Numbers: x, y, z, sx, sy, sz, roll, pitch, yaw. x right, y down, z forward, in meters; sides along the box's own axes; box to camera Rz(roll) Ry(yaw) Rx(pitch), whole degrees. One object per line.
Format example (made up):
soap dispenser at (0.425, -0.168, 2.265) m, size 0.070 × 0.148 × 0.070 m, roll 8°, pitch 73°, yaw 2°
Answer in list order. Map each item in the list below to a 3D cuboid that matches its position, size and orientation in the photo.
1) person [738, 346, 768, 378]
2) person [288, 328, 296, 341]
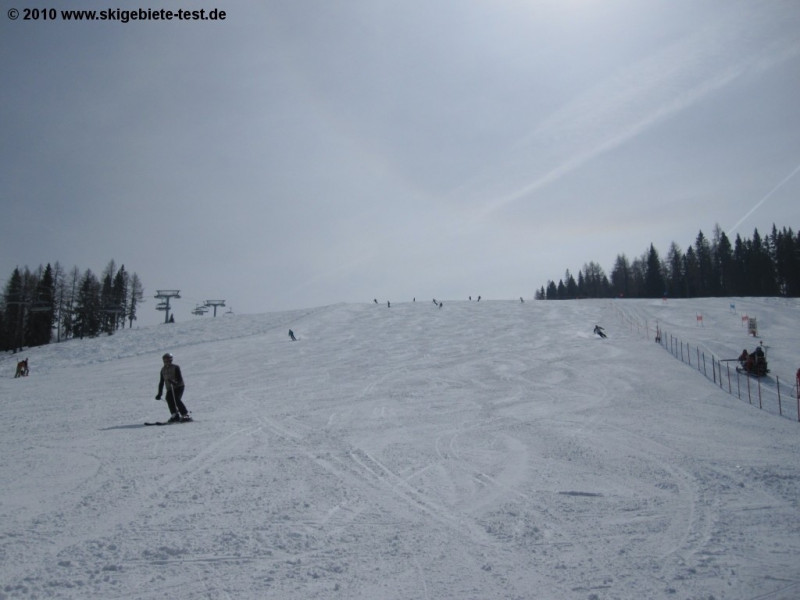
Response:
person at (15.003, 2.600, 27.984) m, size 0.934 × 1.105 × 1.415 m, roll 1°, pitch 4°, yaw 7°
person at (-6.662, 2.148, 41.276) m, size 0.411 × 0.609 × 1.186 m, roll -1°, pitch 4°, yaw -13°
